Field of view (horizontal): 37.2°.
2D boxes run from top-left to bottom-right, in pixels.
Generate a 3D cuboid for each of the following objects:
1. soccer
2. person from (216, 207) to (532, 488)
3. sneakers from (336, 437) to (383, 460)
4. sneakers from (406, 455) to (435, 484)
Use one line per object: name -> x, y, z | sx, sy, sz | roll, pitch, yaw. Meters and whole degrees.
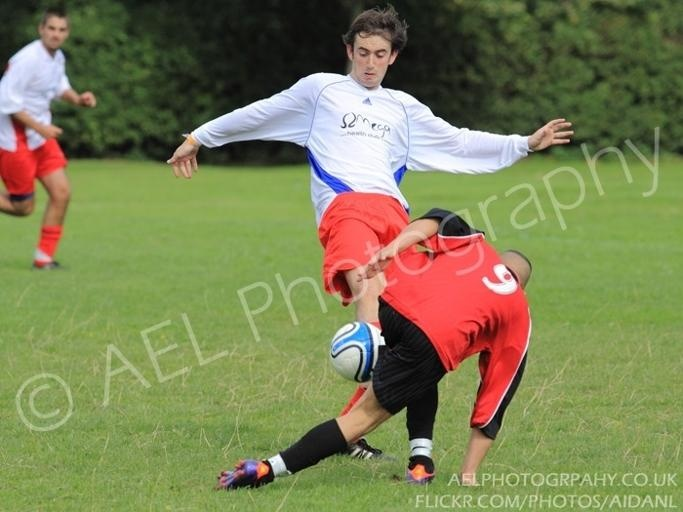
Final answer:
soccer -> 0.144, 0.669, 6.690 | 0.359, 0.405, 0.361 | 0, 51, 7
person -> 0.404, 0.621, 6.550 | 1.606, 1.659, 0.700 | -2, 21, -5
sneakers -> 0.151, 1.343, 6.996 | 0.379, 0.159, 0.126 | 0, 1, 0
sneakers -> 0.522, 1.407, 6.567 | 0.137, 0.138, 0.200 | 1, -12, 1
